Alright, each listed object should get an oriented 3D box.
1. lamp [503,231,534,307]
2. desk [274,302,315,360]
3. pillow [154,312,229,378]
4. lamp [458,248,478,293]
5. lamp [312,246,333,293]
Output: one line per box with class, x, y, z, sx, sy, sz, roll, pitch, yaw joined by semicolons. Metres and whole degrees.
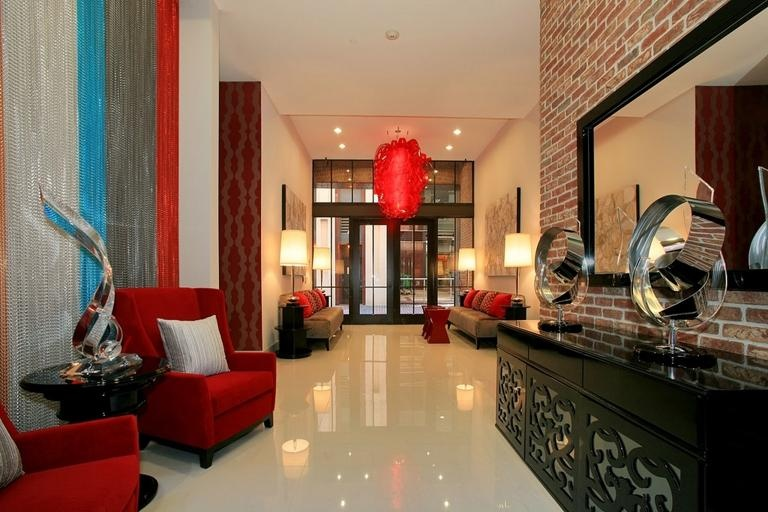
lamp;1.860;0.175;7.277;0.371;0.984;0.881;2;8;25
desk;-1.182;0.945;6.946;0.618;0.702;0.587;-2;4;-33
pillow;-1.500;0.744;4.288;0.257;0.505;0.560;-2;-2;26
lamp;1.586;0.101;10.080;0.350;0.490;0.465;0;7;7
lamp;-1.152;0.248;9.898;0.374;0.872;0.761;-2;7;-6
